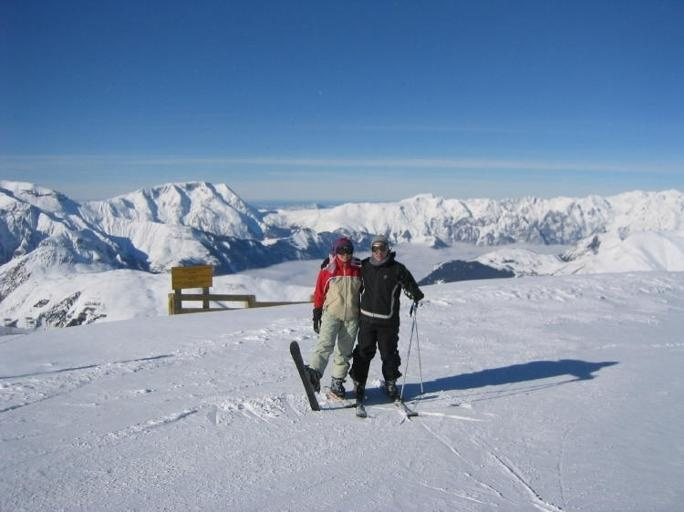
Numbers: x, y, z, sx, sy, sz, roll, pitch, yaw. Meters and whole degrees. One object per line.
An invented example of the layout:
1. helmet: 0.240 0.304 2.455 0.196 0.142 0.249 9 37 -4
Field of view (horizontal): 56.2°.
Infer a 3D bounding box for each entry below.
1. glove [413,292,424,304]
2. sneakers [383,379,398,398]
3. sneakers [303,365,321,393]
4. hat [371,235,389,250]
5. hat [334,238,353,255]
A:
1. glove: 1.386 0.726 11.383 0.171 0.190 0.213 0 12 26
2. sneakers: 0.920 2.417 11.513 0.140 0.300 0.440 -11 -30 2
3. sneakers: -0.502 2.137 11.209 0.183 0.568 0.253 -1 18 27
4. hat: 0.670 -0.230 11.311 0.209 0.224 0.285 -4 -20 3
5. hat: 0.040 -0.174 11.308 0.231 0.273 0.327 1 -15 -6
